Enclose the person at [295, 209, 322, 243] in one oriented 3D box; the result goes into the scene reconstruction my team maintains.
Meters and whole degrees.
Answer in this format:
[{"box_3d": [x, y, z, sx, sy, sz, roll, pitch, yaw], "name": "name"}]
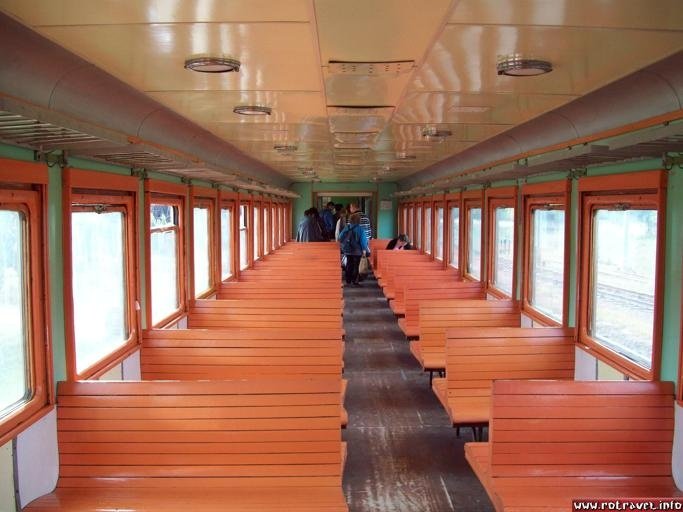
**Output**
[{"box_3d": [-1.028, -0.960, 17.254, 0.663, 1.013, 1.698, -2, 7, -4], "name": "person"}]
